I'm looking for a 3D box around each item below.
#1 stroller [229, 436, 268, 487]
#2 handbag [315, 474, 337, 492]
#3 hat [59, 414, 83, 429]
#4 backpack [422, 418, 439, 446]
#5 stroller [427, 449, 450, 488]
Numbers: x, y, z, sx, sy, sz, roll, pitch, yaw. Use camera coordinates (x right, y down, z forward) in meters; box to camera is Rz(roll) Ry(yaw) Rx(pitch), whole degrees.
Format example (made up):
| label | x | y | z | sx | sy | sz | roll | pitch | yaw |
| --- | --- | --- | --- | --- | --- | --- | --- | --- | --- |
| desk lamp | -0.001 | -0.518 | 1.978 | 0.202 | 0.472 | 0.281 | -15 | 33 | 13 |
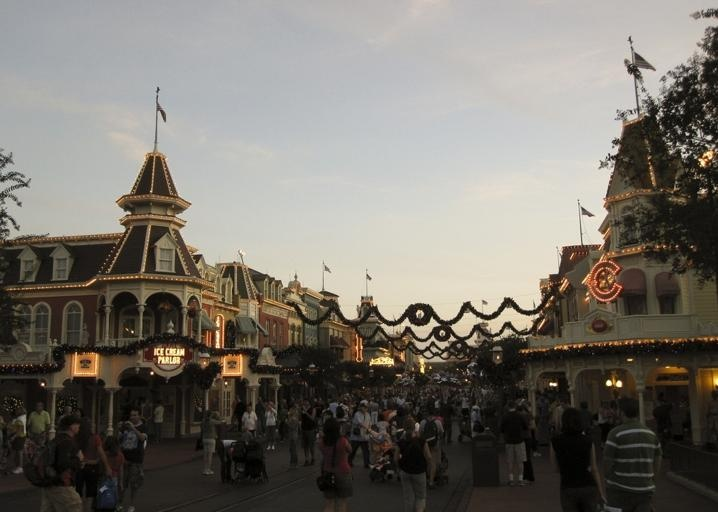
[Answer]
| label | x | y | z | sx | sy | sz | roll | pitch | yaw |
| --- | --- | --- | --- | --- | --- | --- | --- | --- | --- |
| stroller | -3.521 | 6.706 | 26.880 | 1.320 | 1.829 | 1.477 | 0 | -2 | 8 |
| handbag | -0.837 | 5.708 | 20.656 | 0.504 | 0.492 | 0.439 | 6 | 8 | -3 |
| hat | -6.921 | 3.982 | 19.481 | 0.458 | 0.369 | 0.390 | 9 | -17 | -36 |
| backpack | 2.104 | 5.329 | 24.491 | 0.427 | 0.816 | 0.766 | -5 | -14 | 16 |
| stroller | 2.386 | 6.802 | 25.670 | 0.549 | 1.562 | 0.804 | 3 | -6 | 9 |
